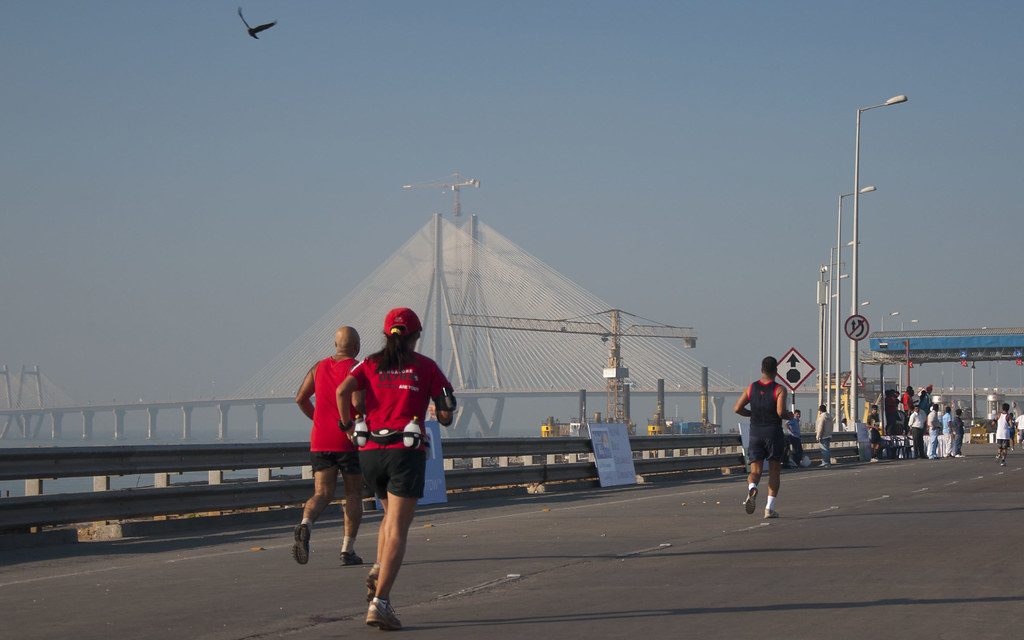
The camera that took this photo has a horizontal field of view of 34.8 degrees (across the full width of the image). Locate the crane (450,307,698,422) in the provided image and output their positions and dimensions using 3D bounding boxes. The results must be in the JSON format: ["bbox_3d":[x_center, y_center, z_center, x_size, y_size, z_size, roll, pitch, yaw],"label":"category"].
[{"bbox_3d":[6.379,3.876,140.889,27.491,10.430,2.449,4,-10,-35],"label":"crane"}]

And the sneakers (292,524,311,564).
[{"bbox_3d":[-2.926,3.092,22.415,0.264,0.567,0.268,-2,-9,6],"label":"sneakers"}]
